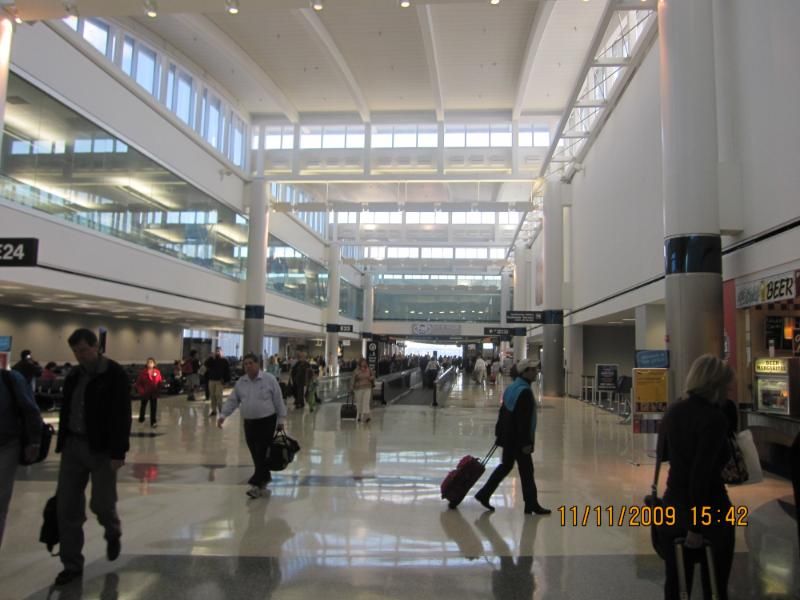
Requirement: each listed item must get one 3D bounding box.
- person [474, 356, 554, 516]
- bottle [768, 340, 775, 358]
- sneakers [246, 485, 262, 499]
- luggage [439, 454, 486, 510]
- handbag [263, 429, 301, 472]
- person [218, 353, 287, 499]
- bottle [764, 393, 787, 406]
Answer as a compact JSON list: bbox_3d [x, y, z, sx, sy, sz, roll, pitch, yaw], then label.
[{"bbox_3d":[1.426,1.718,7.642,0.842,1.872,1.046,-2,-9,8],"label":"person"},{"bbox_3d":[6.666,0.869,10.832,0.085,0.285,0.157,-9,-12,43],"label":"bottle"},{"bbox_3d":[-1.942,2.581,8.080,0.096,0.133,0.300,3,-21,-1],"label":"sneakers"},{"bbox_3d":[0.826,2.311,7.832,0.379,0.731,0.472,14,-4,-1],"label":"luggage"},{"bbox_3d":[-1.648,2.054,8.369,0.382,0.574,0.579,4,4,15],"label":"handbag"},{"bbox_3d":[-1.962,1.696,8.193,0.771,1.848,0.347,1,-9,-13],"label":"person"},{"bbox_3d":[6.605,1.776,10.649,0.213,0.285,0.413,0,-6,5],"label":"bottle"}]
